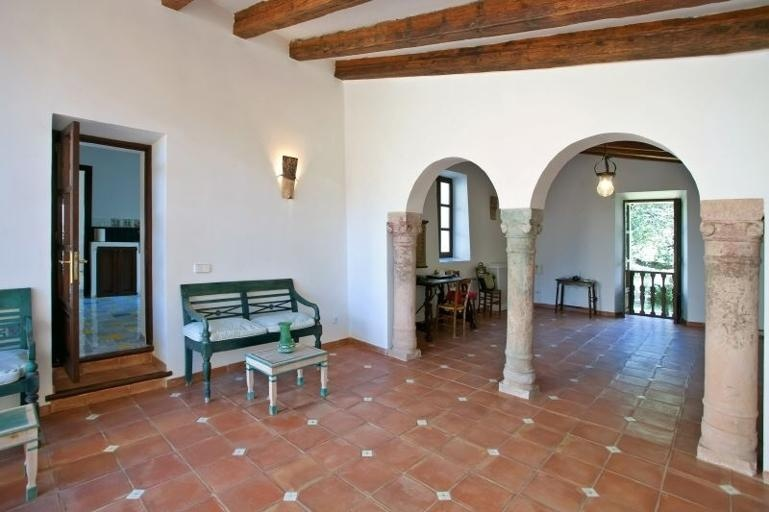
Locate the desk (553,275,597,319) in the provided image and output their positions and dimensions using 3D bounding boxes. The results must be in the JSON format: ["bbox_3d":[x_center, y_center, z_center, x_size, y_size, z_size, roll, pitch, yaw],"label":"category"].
[{"bbox_3d":[4.203,0.899,10.528,0.893,0.797,0.392,1,-1,39],"label":"desk"}]

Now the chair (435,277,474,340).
[{"bbox_3d":[1.259,0.905,8.827,0.646,0.940,0.591,-1,1,-42],"label":"chair"}]

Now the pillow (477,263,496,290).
[{"bbox_3d":[2.218,0.463,10.478,0.558,0.571,0.367,-1,2,23],"label":"pillow"}]

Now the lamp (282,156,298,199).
[{"bbox_3d":[-1.423,-1.167,7.272,0.089,0.640,0.292,1,4,40],"label":"lamp"}]

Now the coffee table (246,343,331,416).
[{"bbox_3d":[-1.213,1.490,6.054,0.648,0.533,0.871,4,6,41],"label":"coffee table"}]

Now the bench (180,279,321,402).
[{"bbox_3d":[-1.804,1.027,6.715,0.753,1.254,1.841,7,6,43],"label":"bench"}]
